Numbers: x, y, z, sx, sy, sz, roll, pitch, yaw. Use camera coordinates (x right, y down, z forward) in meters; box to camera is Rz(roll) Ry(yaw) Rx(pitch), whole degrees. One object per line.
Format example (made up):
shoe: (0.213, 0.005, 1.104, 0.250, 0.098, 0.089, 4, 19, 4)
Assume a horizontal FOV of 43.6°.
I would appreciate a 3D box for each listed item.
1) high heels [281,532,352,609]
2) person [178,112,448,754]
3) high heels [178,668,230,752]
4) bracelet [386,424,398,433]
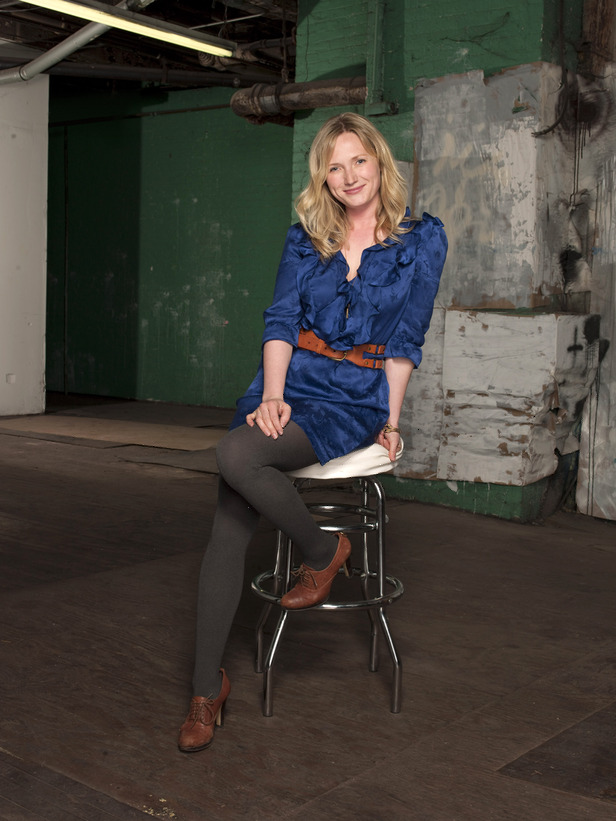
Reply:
high heels: (0.021, 0.373, 1.779, 0.169, 0.165, 0.107, 0, 4, -15)
person: (-0.001, 0.002, 1.882, 0.371, 1.505, 0.718, 5, 6, 39)
high heels: (-0.221, 0.660, 1.750, 0.072, 0.080, 0.200, 5, 34, 14)
bracelet: (0.207, 0.042, 1.884, 0.021, 0.014, 0.026, 6, -3, 5)
